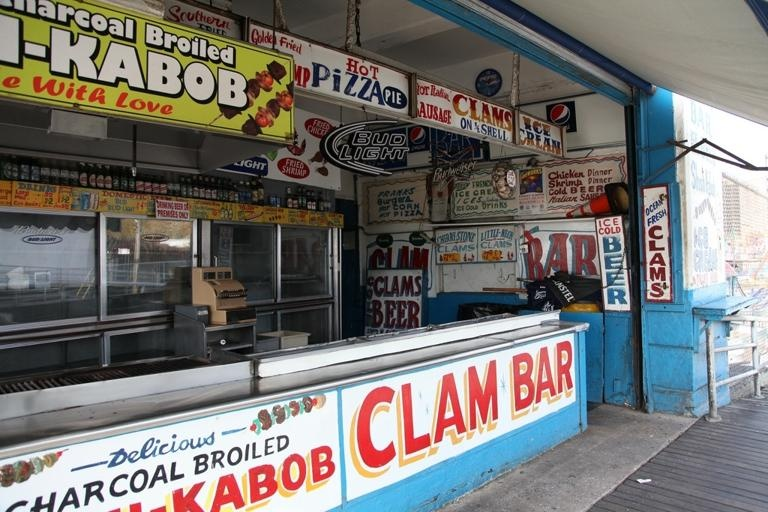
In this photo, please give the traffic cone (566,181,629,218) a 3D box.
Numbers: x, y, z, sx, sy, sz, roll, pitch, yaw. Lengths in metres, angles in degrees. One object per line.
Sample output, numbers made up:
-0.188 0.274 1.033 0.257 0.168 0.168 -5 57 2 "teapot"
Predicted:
2.767 -0.648 7.165 0.438 0.412 0.733 -7 -9 -31 "traffic cone"
